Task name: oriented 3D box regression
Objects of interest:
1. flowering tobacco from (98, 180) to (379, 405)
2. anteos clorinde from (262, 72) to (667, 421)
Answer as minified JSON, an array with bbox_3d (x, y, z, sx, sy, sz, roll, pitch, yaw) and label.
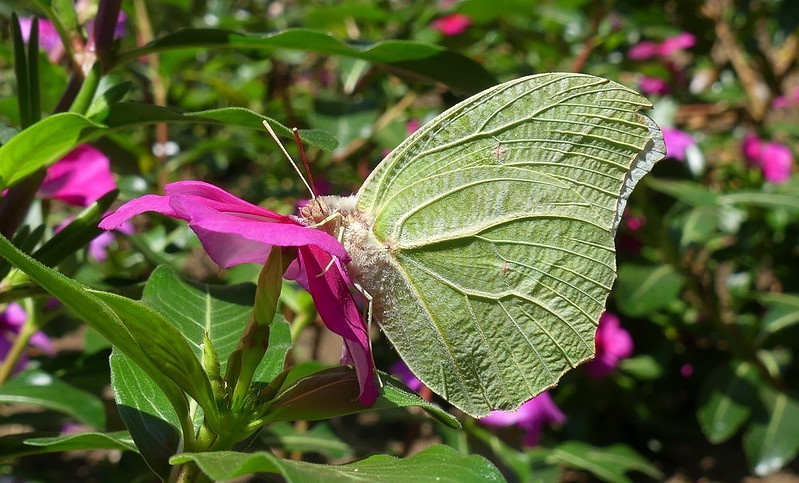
[{"bbox_3d":[-0.488,0.126,2.596,1.030,0.562,0.299,19,6,-4],"label":"flowering tobacco"},{"bbox_3d":[0.138,0.043,3.464,1.314,1.350,1.395,5,2,-9],"label":"anteos clorinde"}]
